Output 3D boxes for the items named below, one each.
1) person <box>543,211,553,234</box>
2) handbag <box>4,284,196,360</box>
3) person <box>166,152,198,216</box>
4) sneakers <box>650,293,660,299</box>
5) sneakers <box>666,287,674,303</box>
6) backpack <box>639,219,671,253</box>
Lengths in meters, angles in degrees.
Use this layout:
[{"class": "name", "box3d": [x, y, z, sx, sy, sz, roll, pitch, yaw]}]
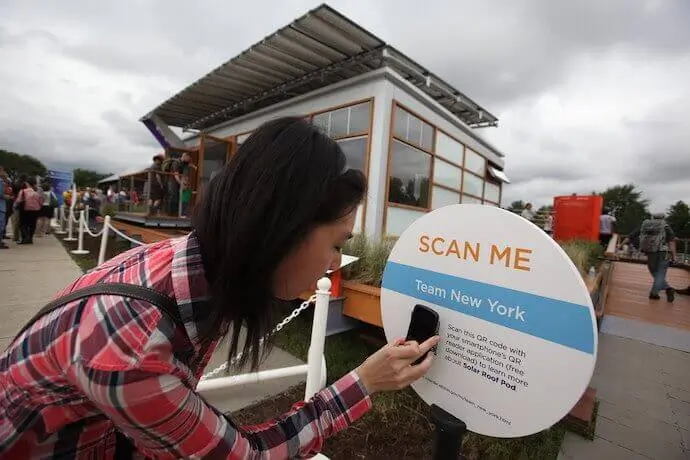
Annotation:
[{"class": "person", "box3d": [9.035, -0.349, 15.556, 0.330, 1.104, 2.177, 5, 1, 30]}, {"class": "handbag", "box3d": [-0.922, 0.442, 1.557, 0.627, 0.155, 0.654, 8, -32, -25]}, {"class": "person", "box3d": [-4.339, -1.080, 9.151, 0.730, 2.046, 0.804, 5, 9, -6]}, {"class": "sneakers", "box3d": [6.219, 1.318, 7.047, 0.234, 0.103, 0.084, 1, 4, -31]}, {"class": "sneakers", "box3d": [6.283, 1.244, 6.790, 0.091, 0.262, 0.113, -3, -14, 16]}, {"class": "backpack", "box3d": [6.249, 0.127, 7.137, 0.419, 0.749, 0.517, 17, -7, -25]}]
